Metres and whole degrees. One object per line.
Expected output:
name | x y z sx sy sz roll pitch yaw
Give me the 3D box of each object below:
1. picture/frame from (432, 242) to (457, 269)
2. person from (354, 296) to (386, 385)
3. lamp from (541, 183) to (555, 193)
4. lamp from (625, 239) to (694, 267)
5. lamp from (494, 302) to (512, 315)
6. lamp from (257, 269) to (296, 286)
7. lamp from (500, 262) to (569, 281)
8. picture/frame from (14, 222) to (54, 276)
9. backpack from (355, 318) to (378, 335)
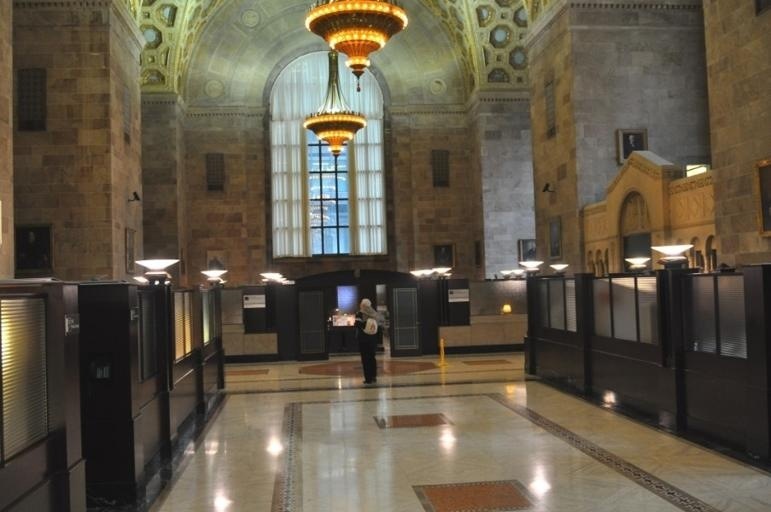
picture/frame | 2.510 -0.026 29.279 1.119 1.247 0.170 1 -1 2
person | -0.417 2.055 16.207 0.537 2.007 0.641 -2 4 7
lamp | 5.133 -2.149 21.511 0.323 0.288 0.200 3 0 5
lamp | 5.865 -0.037 14.742 0.854 0.385 1.625 1 -6 -35
lamp | 3.831 1.689 21.699 0.462 0.352 0.130 -4 4 -21
lamp | -3.508 0.739 21.684 0.996 0.305 1.003 2 -1 0
lamp | 4.871 0.403 21.817 0.942 0.306 1.303 1 -6 -40
picture/frame | -9.309 -0.132 18.096 1.362 1.884 0.200 -1 -5 -6
backpack | -0.433 1.652 15.938 0.469 0.327 0.355 -4 -7 13
